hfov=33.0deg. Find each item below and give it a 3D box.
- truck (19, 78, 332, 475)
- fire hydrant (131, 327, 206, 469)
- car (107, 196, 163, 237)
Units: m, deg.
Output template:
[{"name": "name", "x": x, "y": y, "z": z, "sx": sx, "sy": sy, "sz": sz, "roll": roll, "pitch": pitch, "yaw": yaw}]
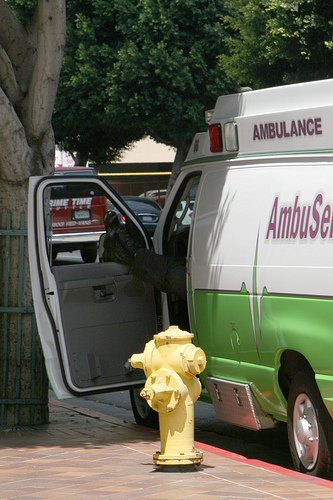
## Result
[{"name": "truck", "x": 0.325, "y": 0.030, "z": 4.215, "sx": 2.490, "sy": 2.399, "sz": 1.604, "roll": 4, "pitch": 12, "yaw": 37}, {"name": "fire hydrant", "x": 0.034, "y": 0.849, "z": 3.373, "sx": 0.369, "sy": 0.757, "sz": 0.454, "roll": -6, "pitch": 10, "yaw": -13}, {"name": "car", "x": -0.788, "y": -1.188, "z": 20.324, "sx": 1.310, "sy": 0.920, "sz": 2.887, "roll": 1, "pitch": 7, "yaw": -11}]
